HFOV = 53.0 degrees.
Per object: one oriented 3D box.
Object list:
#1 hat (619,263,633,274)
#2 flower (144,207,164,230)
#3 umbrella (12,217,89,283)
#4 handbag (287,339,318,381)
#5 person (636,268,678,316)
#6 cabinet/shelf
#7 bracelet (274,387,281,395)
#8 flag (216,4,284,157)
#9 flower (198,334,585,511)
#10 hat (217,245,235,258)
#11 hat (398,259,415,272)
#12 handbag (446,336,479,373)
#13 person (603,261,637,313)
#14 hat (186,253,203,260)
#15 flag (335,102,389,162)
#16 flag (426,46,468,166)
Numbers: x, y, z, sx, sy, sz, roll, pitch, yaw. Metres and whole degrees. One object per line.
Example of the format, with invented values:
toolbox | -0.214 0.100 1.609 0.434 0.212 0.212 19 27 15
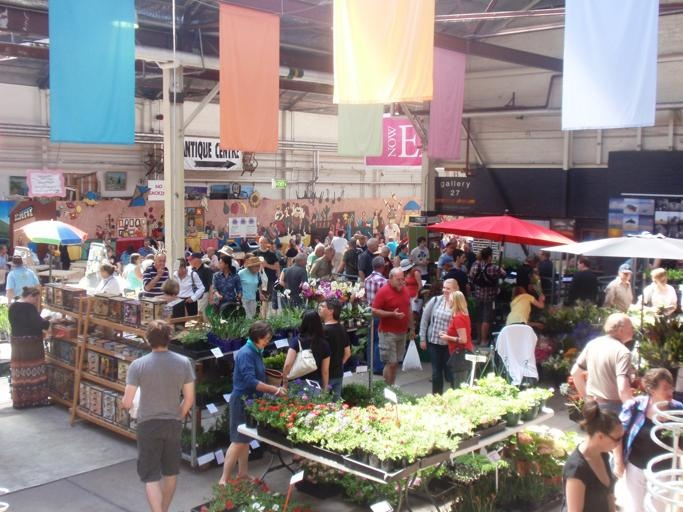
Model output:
hat | 4.895 0.220 11.801 0.155 0.132 0.217 2 4 -14
flower | -6.237 -1.267 22.844 0.166 0.720 0.719 -5 1 42
umbrella | -5.439 -0.148 12.862 0.897 0.646 0.864 1 14 -31
handbag | -0.447 1.182 7.825 0.341 0.396 0.126 -23 -22 13
person | 5.181 0.602 11.238 0.380 0.961 0.514 10 -12 -42
cabinet/shelf | -2.478 1.354 9.503 2.701 1.249 2.125 2 4 33
bracelet | -0.690 1.473 7.444 0.023 0.068 0.047 18 -14 -2
flag | -1.496 -2.913 11.230 1.179 2.339 0.283 -6 6 -34
flower | 0.554 1.747 6.958 3.136 0.609 1.289 -4 5 -10
hat | -2.449 -0.089 14.623 0.308 0.122 0.345 27 -12 26
hat | 1.158 0.151 12.094 0.218 0.102 0.257 -14 21 23
handbag | 1.579 1.322 9.073 0.456 0.675 0.252 3 10 19
person | 4.955 0.577 12.185 0.578 1.284 0.357 -11 16 -31
hat | -2.534 0.000 11.490 0.260 0.106 0.173 -2 3 7
flag | 0.431 -2.728 14.794 1.015 1.104 0.517 -3 5 -10
flag | 2.081 -3.046 13.789 0.967 2.131 0.353 -6 6 -38
